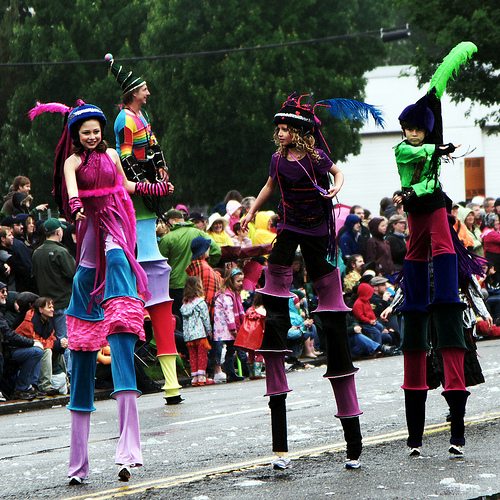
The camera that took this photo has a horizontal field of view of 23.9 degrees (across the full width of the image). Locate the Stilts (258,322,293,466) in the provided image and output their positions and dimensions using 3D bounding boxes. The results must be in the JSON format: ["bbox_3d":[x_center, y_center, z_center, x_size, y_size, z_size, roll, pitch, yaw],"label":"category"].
[{"bbox_3d":[0.210,1.074,8.624,0.217,1.058,0.271,-8,0,1],"label":"Stilts"}]

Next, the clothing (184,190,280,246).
[{"bbox_3d":[-0.085,-0.416,16.414,0.951,0.639,0.457,-1,14,-18],"label":"clothing"}]

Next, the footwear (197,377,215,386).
[{"bbox_3d":[-0.507,1.537,13.839,0.093,0.065,0.173,3,3,29],"label":"footwear"}]

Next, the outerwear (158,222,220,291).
[{"bbox_3d":[-0.746,0.065,14.321,0.881,0.680,0.381,-9,6,-8],"label":"outerwear"}]

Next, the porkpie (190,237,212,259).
[{"bbox_3d":[-0.603,-0.077,14.535,0.220,0.118,0.284,-40,22,10],"label":"porkpie"}]

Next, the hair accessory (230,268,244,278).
[{"bbox_3d":[-0.169,0.255,14.276,0.109,0.081,0.131,0,-30,1],"label":"hair accessory"}]

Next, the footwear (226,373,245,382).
[{"bbox_3d":[-0.187,1.534,14.234,0.215,0.135,0.080,-6,6,-40],"label":"footwear"}]

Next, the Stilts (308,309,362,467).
[{"bbox_3d":[0.685,1.002,8.642,0.251,1.176,0.425,-8,0,3],"label":"Stilts"}]

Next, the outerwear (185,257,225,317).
[{"bbox_3d":[-0.563,0.450,14.305,0.493,0.817,0.645,-11,-7,12],"label":"outerwear"}]
